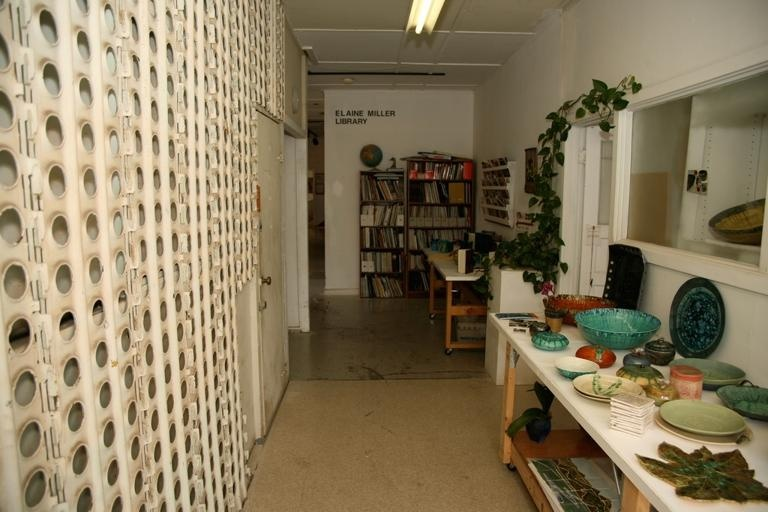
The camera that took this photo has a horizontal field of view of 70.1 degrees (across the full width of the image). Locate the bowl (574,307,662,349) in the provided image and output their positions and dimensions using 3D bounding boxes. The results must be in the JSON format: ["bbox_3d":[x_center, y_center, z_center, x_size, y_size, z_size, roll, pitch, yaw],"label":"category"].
[{"bbox_3d":[1.477,0.441,3.408,0.322,0.135,0.327,0,14,0],"label":"bowl"}]

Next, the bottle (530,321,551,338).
[{"bbox_3d":[1.004,0.478,3.529,0.091,0.059,0.094,0,2,0],"label":"bottle"}]

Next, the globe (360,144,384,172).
[{"bbox_3d":[-0.201,-1.526,8.436,0.328,0.354,0.187,7,10,20],"label":"globe"}]

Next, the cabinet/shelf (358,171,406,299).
[{"bbox_3d":[-0.041,-0.353,8.783,0.752,2.054,0.459,-2,21,-5],"label":"cabinet/shelf"}]

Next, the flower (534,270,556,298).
[{"bbox_3d":[1.501,0.247,5.112,0.222,0.231,0.099,-22,-21,9],"label":"flower"}]

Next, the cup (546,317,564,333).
[{"bbox_3d":[1.136,0.454,3.615,0.091,0.079,0.100,1,-1,2],"label":"cup"}]
